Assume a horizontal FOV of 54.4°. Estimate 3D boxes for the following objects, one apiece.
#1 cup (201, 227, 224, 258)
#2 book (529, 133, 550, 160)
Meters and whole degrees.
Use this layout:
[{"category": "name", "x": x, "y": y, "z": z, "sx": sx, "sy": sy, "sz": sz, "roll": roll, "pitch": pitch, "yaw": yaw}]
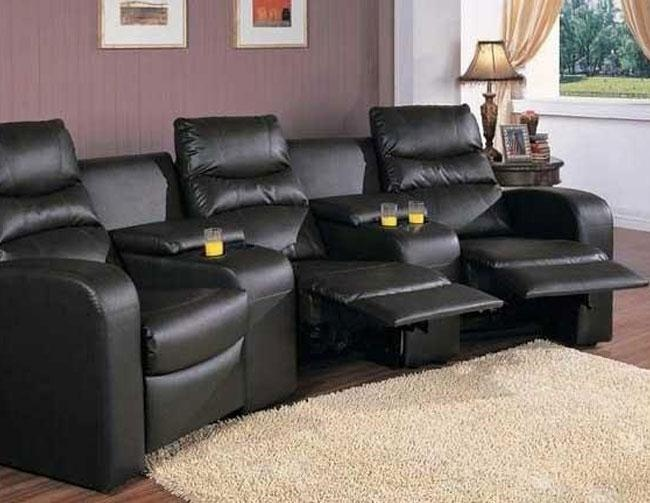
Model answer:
[{"category": "cup", "x": -0.427, "y": -0.032, "z": 2.398, "sx": 0.072, "sy": 0.096, "sz": 0.102, "roll": -4, "pitch": 14, "yaw": -11}, {"category": "book", "x": 1.331, "y": -0.649, "z": 3.974, "sx": 0.149, "sy": 0.126, "sz": 0.191, "roll": 4, "pitch": 8, "yaw": 37}]
